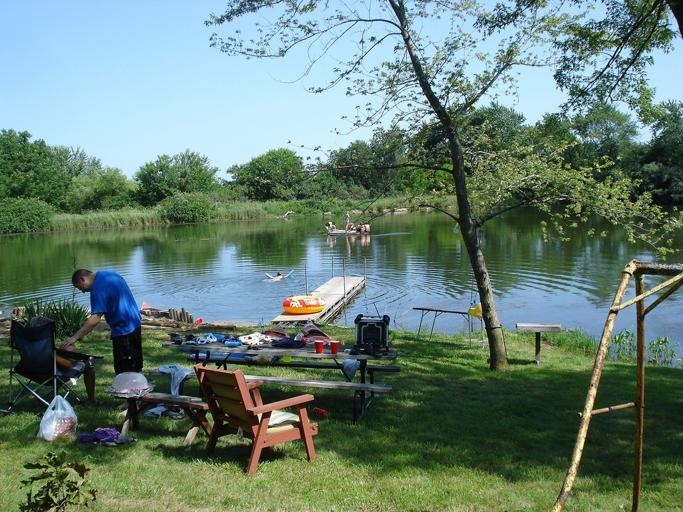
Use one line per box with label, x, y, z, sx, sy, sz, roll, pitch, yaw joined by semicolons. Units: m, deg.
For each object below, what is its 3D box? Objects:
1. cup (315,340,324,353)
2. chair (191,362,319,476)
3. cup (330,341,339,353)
cup;-0.430;1.493;9.891;0.155;0.182;0.159;1;3;0
chair;-1.240;2.183;8.305;1.696;1.351;0.862;0;5;-3
cup;-0.152;1.498;9.864;0.159;0.178;0.166;0;-2;0
